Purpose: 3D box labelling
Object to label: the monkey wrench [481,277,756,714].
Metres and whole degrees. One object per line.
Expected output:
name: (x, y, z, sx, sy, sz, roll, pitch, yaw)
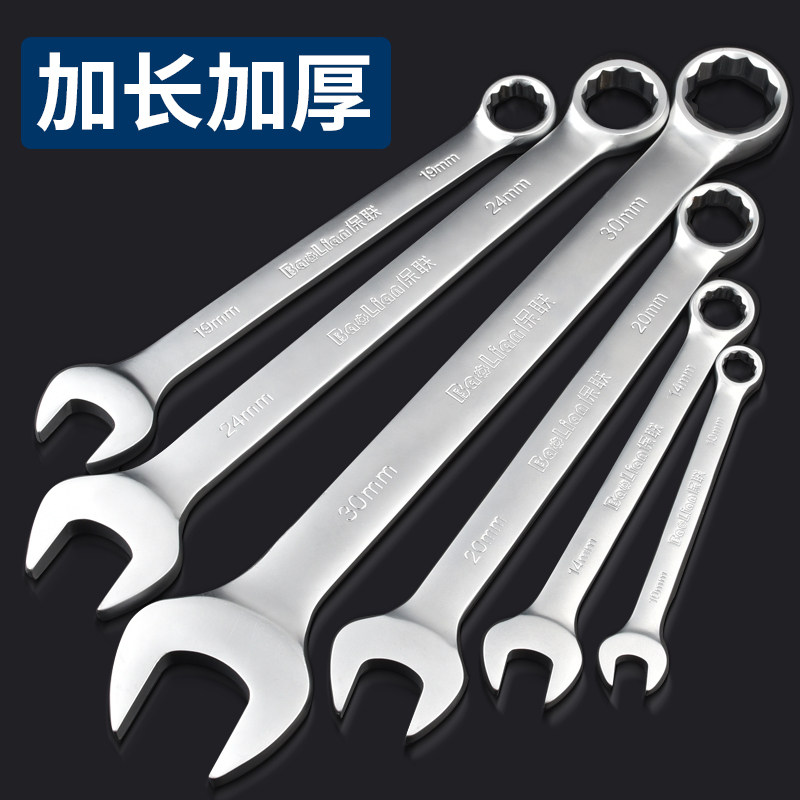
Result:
monkey wrench: (0.249, 0.124, 1.602, 0.657, 0.549, 0.402, -13, 35, -19)
